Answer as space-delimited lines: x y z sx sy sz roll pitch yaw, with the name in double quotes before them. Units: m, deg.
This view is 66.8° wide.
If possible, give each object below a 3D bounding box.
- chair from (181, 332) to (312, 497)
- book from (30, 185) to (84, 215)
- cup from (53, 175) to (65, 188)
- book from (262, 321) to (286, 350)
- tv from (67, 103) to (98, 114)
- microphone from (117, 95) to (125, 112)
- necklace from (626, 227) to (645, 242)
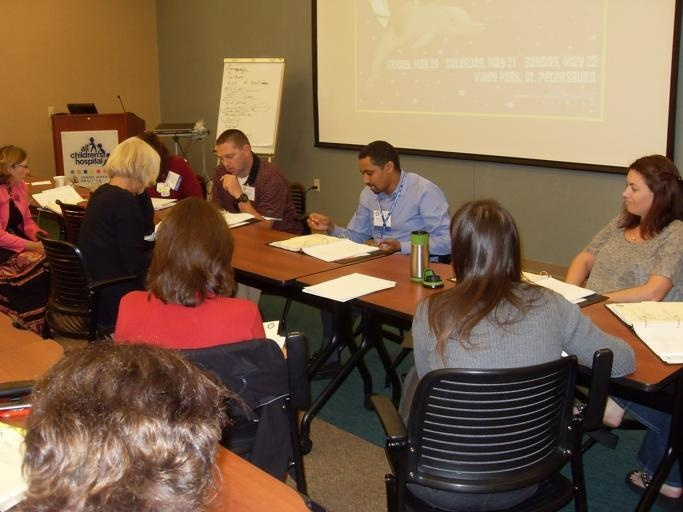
"chair" -0.227 0.429 1.659 0.369 0.592 0.425 -1 17 -1
"book" -2.224 -0.440 4.089 0.305 0.080 0.307 23 31 34
"cup" -2.530 -0.670 4.706 0.119 0.121 0.149 -2 4 -34
"book" -0.242 0.279 1.873 0.094 0.028 0.102 6 23 4
"tv" -3.100 -1.779 6.242 0.270 0.113 0.473 -11 20 -29
"microphone" -3.179 -2.234 7.560 0.091 0.217 0.157 -9 18 -24
"necklace" 1.458 -0.105 2.596 0.065 0.015 0.062 -52 27 -10
